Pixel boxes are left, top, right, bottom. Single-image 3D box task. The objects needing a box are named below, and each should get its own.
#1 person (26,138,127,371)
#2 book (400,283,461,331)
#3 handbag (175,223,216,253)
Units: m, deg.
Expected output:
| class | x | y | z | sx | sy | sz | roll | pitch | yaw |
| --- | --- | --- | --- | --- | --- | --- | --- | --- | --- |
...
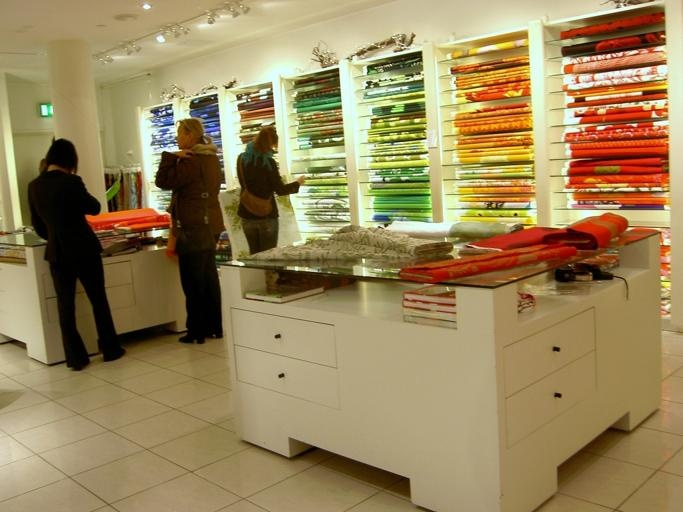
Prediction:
| class | x | y | z | sx | sy | sz | roll | pitch | yaw |
| --- | --- | --- | --- | --- | --- | --- | --- | --- | --- |
| person | -2.339 | 0.004 | 4.508 | 0.583 | 1.985 | 0.422 | -15 | 16 | -26 |
| book | 0.407 | 0.228 | 2.335 | 0.218 | 0.109 | 0.290 | 0 | 1 | 31 |
| handbag | -1.336 | -0.146 | 4.763 | 0.315 | 0.166 | 0.320 | -3 | 0 | -43 |
